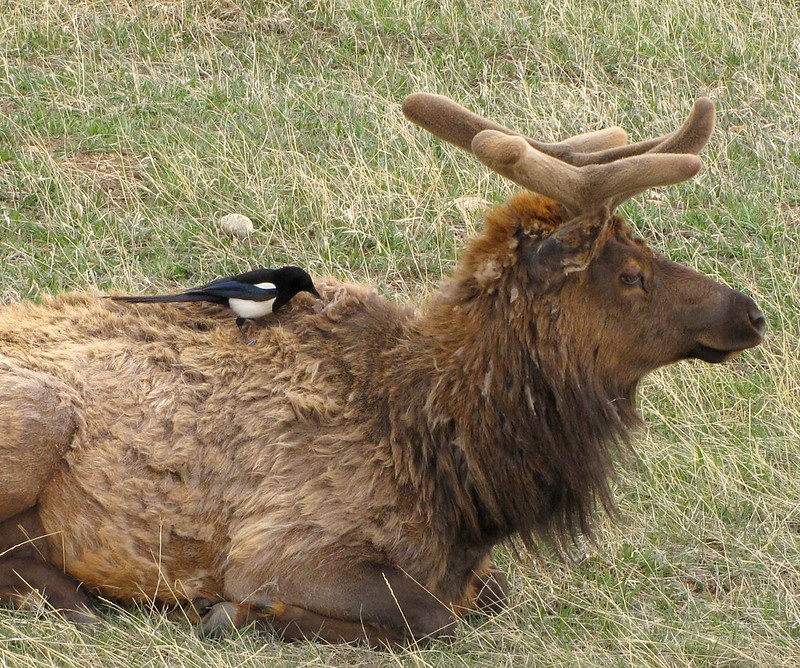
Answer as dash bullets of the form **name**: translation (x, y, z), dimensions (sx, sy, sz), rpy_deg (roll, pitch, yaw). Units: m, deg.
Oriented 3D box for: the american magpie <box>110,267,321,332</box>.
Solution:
- **american magpie**: translation (-0.958, -0.220, 5.767), dimensions (1.082, 0.392, 0.252), rpy_deg (5, 12, -13)
